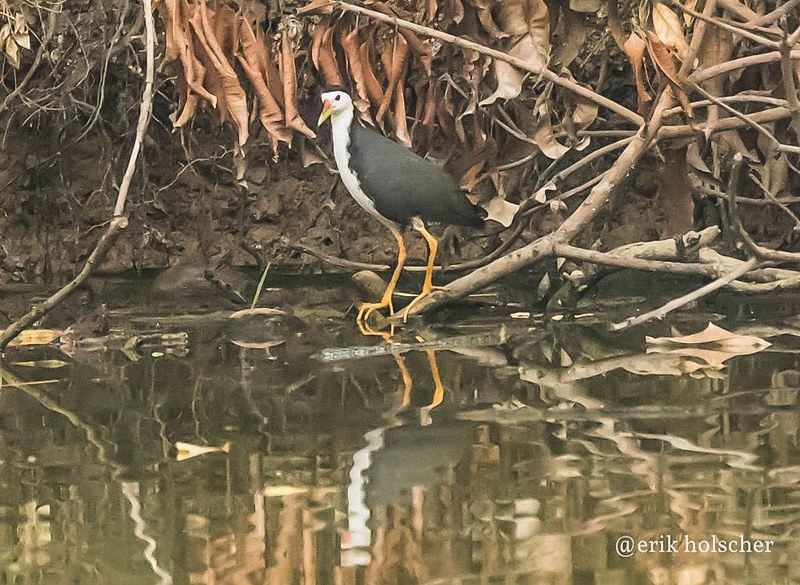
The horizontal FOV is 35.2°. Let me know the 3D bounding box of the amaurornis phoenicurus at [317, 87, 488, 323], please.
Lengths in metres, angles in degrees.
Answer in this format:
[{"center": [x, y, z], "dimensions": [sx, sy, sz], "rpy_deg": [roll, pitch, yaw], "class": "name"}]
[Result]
[{"center": [0.015, -0.456, 6.502], "dimensions": [0.766, 1.210, 0.405], "rpy_deg": [-3, 4, 3], "class": "amaurornis phoenicurus"}]
